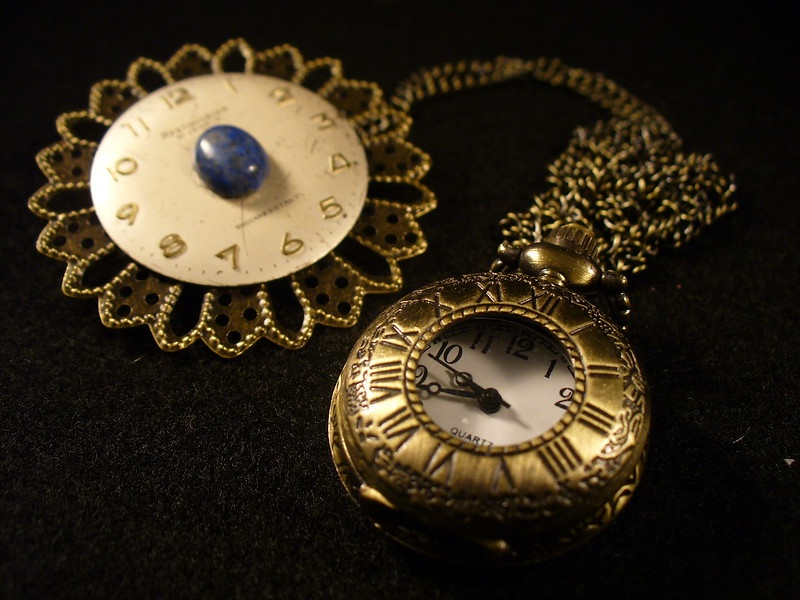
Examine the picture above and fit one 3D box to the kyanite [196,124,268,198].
[{"bbox_3d":[-0.443,-0.359,2.581,0.162,0.102,0.190,-13,80,-9],"label":"kyanite"}]
